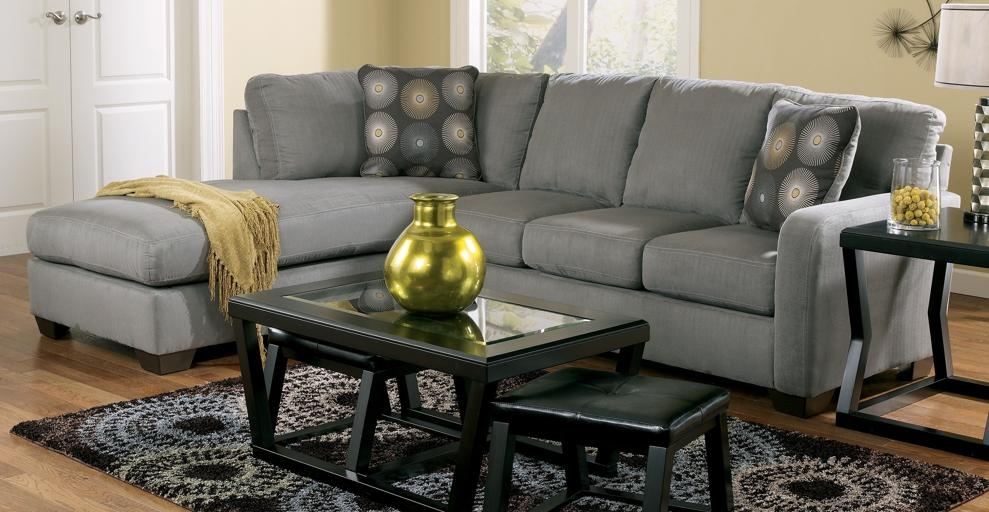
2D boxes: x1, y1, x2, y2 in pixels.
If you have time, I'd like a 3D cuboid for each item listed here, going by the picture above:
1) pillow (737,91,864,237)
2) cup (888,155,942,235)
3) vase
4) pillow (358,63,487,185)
[{"bbox_3d":[1.700,-0.498,4.034,0.517,0.700,0.432,16,26,35],"label":"pillow"},{"bbox_3d":[2.066,-0.306,3.532,0.265,0.333,0.263,0,21,0],"label":"cup"},{"bbox_3d":[-0.260,-0.005,3.042,0.423,0.502,0.258,0,22,0],"label":"vase"},{"bbox_3d":[-0.497,-0.967,5.198,1.015,0.778,0.331,6,12,21],"label":"pillow"}]
